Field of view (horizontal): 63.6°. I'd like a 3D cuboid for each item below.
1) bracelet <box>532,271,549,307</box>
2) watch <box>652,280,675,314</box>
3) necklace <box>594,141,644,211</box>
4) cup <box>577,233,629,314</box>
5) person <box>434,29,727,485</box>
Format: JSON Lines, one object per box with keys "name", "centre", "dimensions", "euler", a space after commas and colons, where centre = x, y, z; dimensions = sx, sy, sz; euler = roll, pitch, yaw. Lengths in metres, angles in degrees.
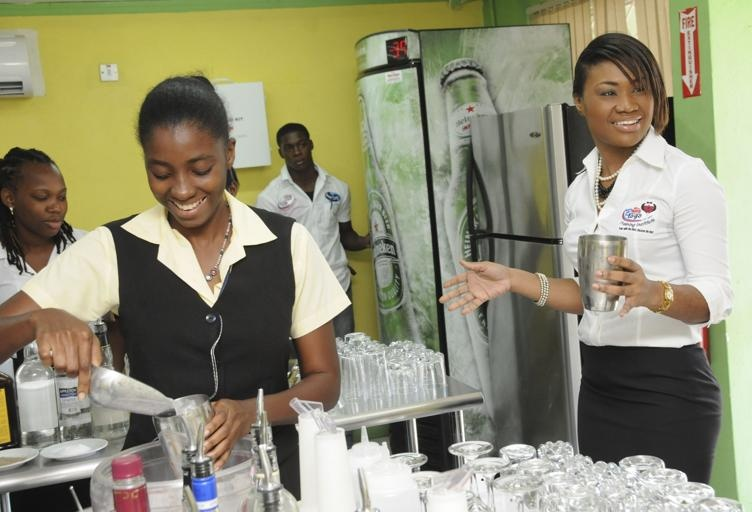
{"name": "bracelet", "centre": [0.640, 0.120, 2.372], "dimensions": [0.037, 0.102, 0.089], "euler": [-4, -16, -4]}
{"name": "watch", "centre": [0.903, 0.125, 1.887], "dimensions": [0.101, 0.100, 0.037], "euler": [-12, 9, -42]}
{"name": "necklace", "centre": [0.889, -0.290, 2.268], "dimensions": [0.044, 0.219, 0.138], "euler": [6, -10, -23]}
{"name": "cup", "centre": [0.667, 0.054, 1.809], "dimensions": [0.101, 0.248, 0.143], "euler": [-9, 7, -21]}
{"name": "person", "centre": [0.842, -0.007, 2.154], "dimensions": [0.639, 1.575, 0.661], "euler": [-9, 7, -26]}
